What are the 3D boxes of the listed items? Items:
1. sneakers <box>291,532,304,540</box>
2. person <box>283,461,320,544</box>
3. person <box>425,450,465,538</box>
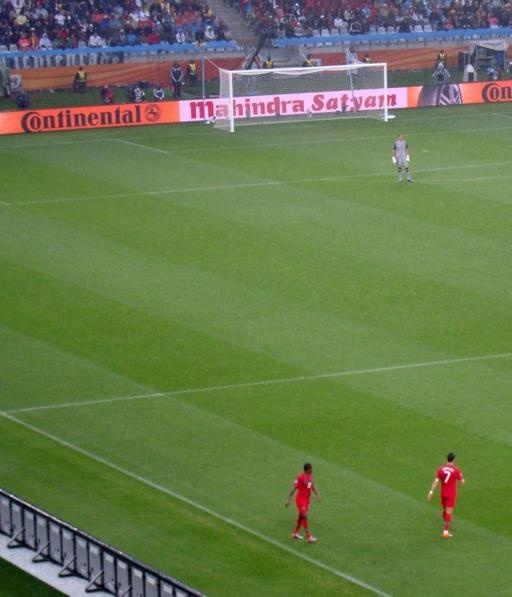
[{"bbox_3d":[0.604,3.471,21.265,0.202,0.151,0.070,-3,5,-19],"label":"sneakers"},{"bbox_3d":[0.691,2.862,21.528,0.489,1.191,1.343,0,11,1],"label":"person"},{"bbox_3d":[2.850,2.771,21.651,0.552,1.206,1.352,1,11,7],"label":"person"}]
